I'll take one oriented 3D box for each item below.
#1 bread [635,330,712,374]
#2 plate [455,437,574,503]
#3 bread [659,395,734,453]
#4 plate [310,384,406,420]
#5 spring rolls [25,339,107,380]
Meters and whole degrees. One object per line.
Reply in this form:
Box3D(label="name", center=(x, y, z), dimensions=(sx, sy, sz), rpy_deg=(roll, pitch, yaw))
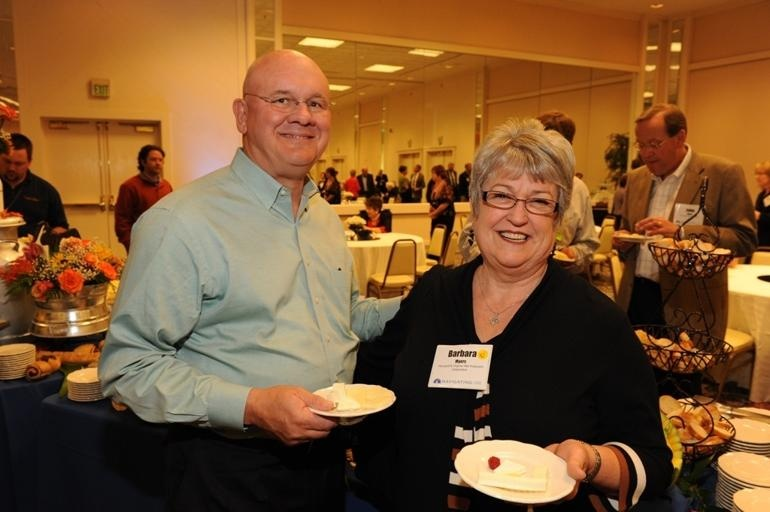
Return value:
Box3D(label="bread", center=(1.568, 0.523, 3.034), dimensions=(0.403, 0.147, 0.414), rpy_deg=(1, 0, 40))
Box3D(label="plate", center=(0.508, 0.758, 2.236), dimensions=(0.416, 0.226, 0.449), rpy_deg=(8, 5, 23))
Box3D(label="bread", center=(1.608, 0.833, 2.951), dimensions=(0.311, 0.261, 0.368), rpy_deg=(2, 11, -7))
Box3D(label="plate", center=(-0.142, 0.601, 2.384), dimensions=(0.354, 0.090, 0.311), rpy_deg=(-5, 10, -32))
Box3D(label="spring rolls", center=(-1.833, 0.590, 3.294), dimensions=(0.306, 0.129, 0.490), rpy_deg=(7, 11, 10))
